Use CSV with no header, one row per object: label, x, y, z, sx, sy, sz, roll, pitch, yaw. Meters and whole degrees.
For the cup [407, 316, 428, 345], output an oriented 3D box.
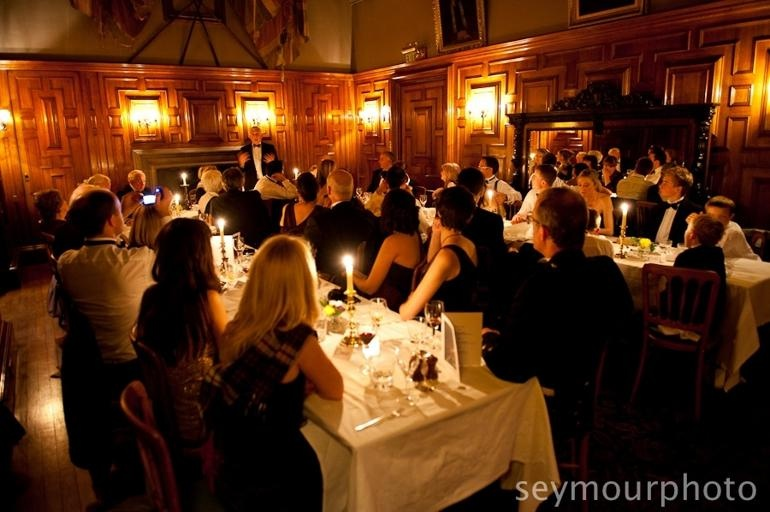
cup,0.241,0.545,3.759,0.149,0.183,0.160,0,-2,0
